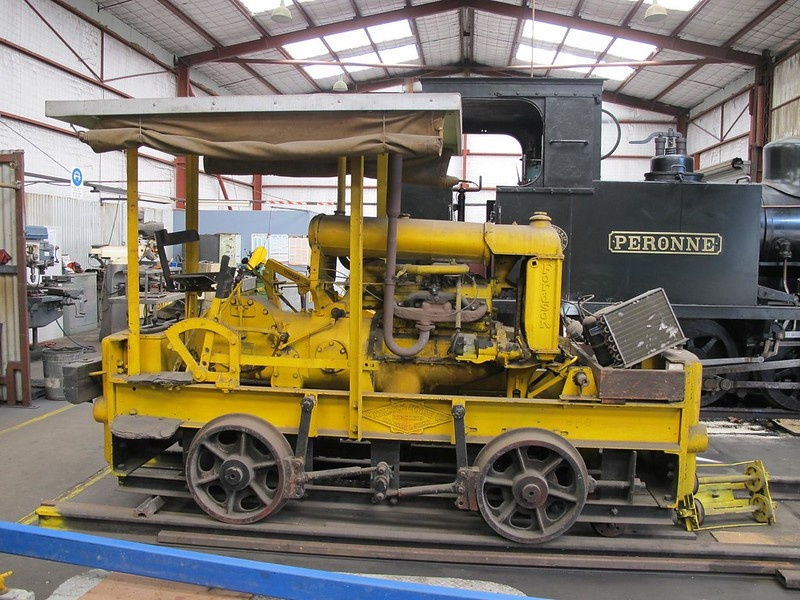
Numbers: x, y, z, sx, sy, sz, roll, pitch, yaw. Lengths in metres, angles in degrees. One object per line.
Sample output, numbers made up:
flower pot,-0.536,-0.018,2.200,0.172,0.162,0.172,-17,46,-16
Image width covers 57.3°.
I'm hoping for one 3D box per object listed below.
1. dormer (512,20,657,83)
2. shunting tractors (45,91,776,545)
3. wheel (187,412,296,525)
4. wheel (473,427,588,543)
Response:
dormer,4.934,-6.638,19.893,3.419,1.209,3.858,1,4,8
shunting tractors,0.206,0.203,8.042,7.557,3.870,3.009,1,8,10
wheel,-1.541,1.646,7.170,0.916,0.857,0.252,17,8,2
wheel,1.266,1.776,7.039,1.148,1.057,0.342,2,1,3
